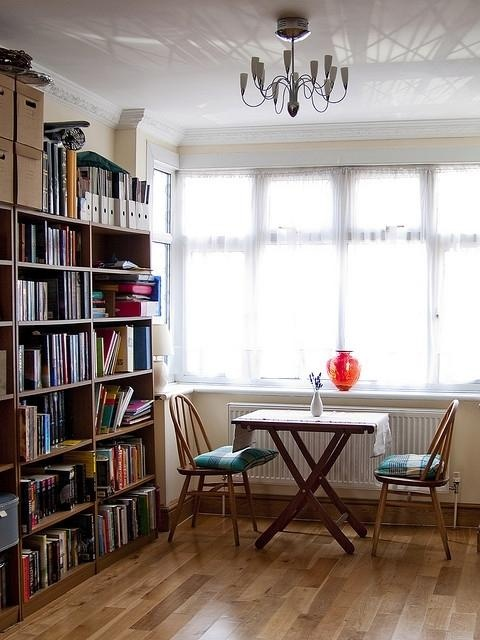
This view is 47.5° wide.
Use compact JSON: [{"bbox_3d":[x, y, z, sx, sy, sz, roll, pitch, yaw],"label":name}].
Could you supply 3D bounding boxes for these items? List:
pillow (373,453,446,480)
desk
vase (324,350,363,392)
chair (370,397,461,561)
[{"bbox_3d":[1.003,0.862,3.266,0.361,0.139,0.359,-3,-7,19],"label":"pillow"},{"bbox_3d":[0.466,1.030,3.523,0.827,0.820,0.616,-2,-4,18],"label":"desk"},{"bbox_3d":[0.753,0.388,4.052,0.268,0.338,0.276,0,-9,-4],"label":"vase"},{"bbox_3d":[1.110,0.962,3.455,0.515,0.915,0.816,-2,-7,18],"label":"chair"}]
